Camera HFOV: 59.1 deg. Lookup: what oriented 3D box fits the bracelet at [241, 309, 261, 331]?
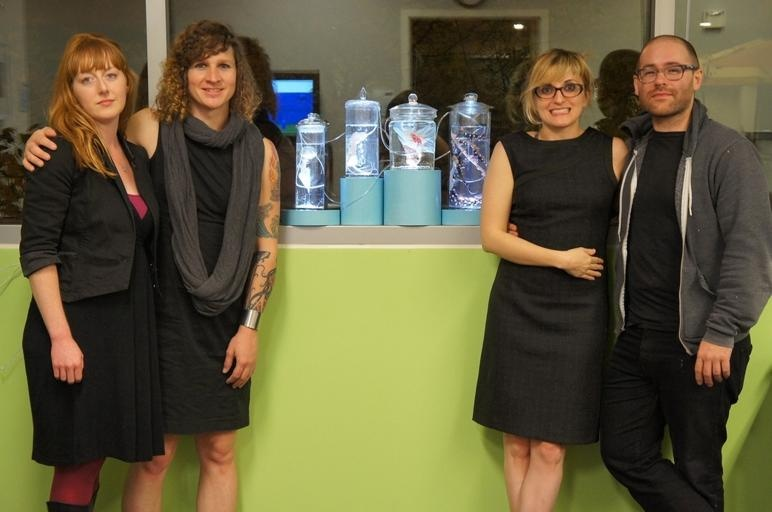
[{"bbox_3d":[-0.577,0.261,2.961,0.078,0.091,0.082,20,-6,0],"label":"bracelet"}]
